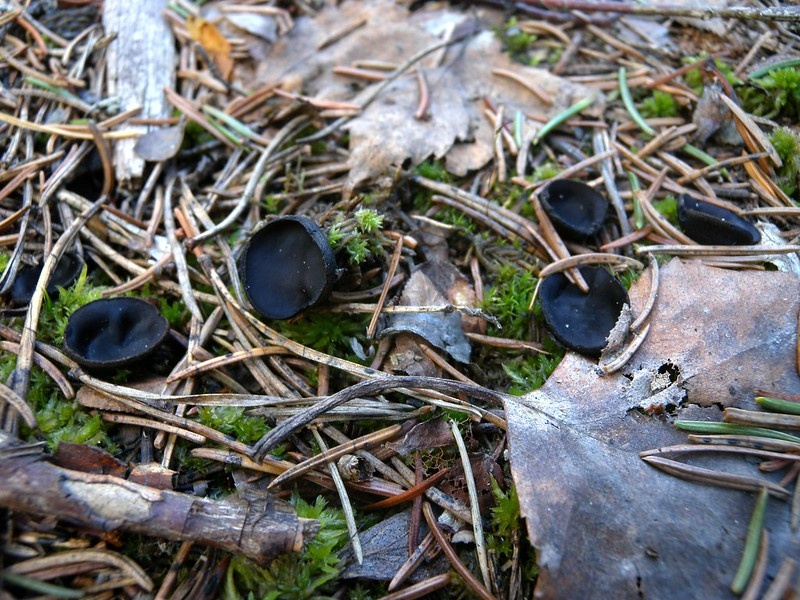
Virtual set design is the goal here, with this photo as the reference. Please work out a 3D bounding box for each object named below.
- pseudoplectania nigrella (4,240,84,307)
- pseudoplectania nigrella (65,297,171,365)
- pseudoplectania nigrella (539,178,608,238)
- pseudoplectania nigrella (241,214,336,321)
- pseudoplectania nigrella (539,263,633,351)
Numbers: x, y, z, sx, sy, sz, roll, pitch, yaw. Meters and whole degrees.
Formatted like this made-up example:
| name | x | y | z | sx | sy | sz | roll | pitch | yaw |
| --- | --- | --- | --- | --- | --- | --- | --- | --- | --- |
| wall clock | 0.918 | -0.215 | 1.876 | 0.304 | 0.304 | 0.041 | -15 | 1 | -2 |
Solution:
| name | x | y | z | sx | sy | sz | roll | pitch | yaw |
| --- | --- | --- | --- | --- | --- | --- | --- | --- | --- |
| pseudoplectania nigrella | -2.075 | -0.141 | 4.236 | 0.450 | 0.287 | 0.388 | 17 | 32 | 23 |
| pseudoplectania nigrella | -1.587 | 0.211 | 3.933 | 0.539 | 0.200 | 0.523 | -11 | 46 | -26 |
| pseudoplectania nigrella | 1.086 | -0.558 | 4.350 | 0.373 | 0.405 | 0.367 | 4 | 20 | 14 |
| pseudoplectania nigrella | -0.627 | -0.175 | 3.999 | 0.548 | 0.549 | 0.310 | -32 | -13 | -3 |
| pseudoplectania nigrella | 1.028 | 0.014 | 4.061 | 0.478 | 0.558 | 0.323 | 31 | -8 | 10 |
